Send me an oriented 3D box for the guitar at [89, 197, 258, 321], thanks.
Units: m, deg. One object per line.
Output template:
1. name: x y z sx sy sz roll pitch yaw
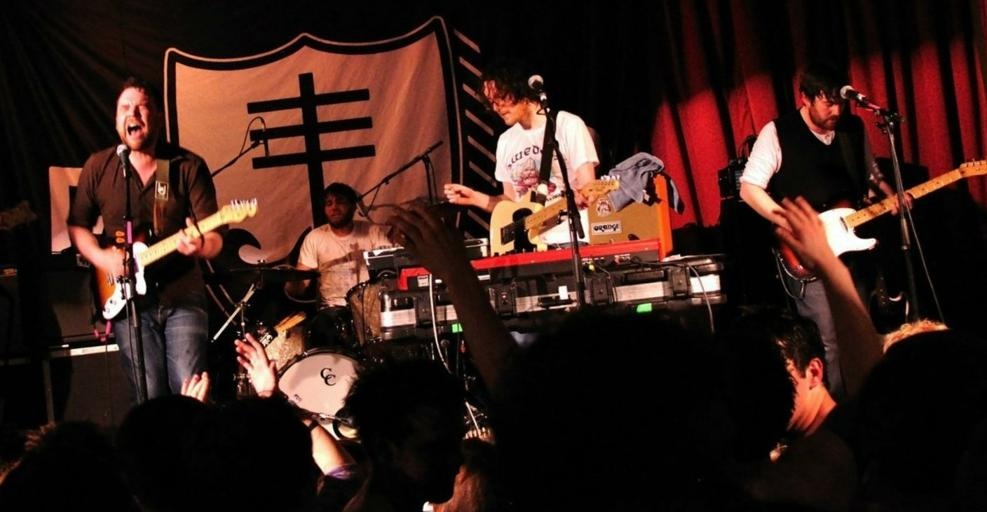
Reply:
1. guitar: -2.853 0.040 7.360 1.307 0.489 0.163 -28 8 -6

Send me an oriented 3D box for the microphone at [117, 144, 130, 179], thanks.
1. microphone: -3.040 -0.798 6.880 0.100 0.328 0.096 -3 -25 -20

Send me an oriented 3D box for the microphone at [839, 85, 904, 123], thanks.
1. microphone: 3.427 -1.382 7.598 0.780 0.147 0.153 24 -18 -17
